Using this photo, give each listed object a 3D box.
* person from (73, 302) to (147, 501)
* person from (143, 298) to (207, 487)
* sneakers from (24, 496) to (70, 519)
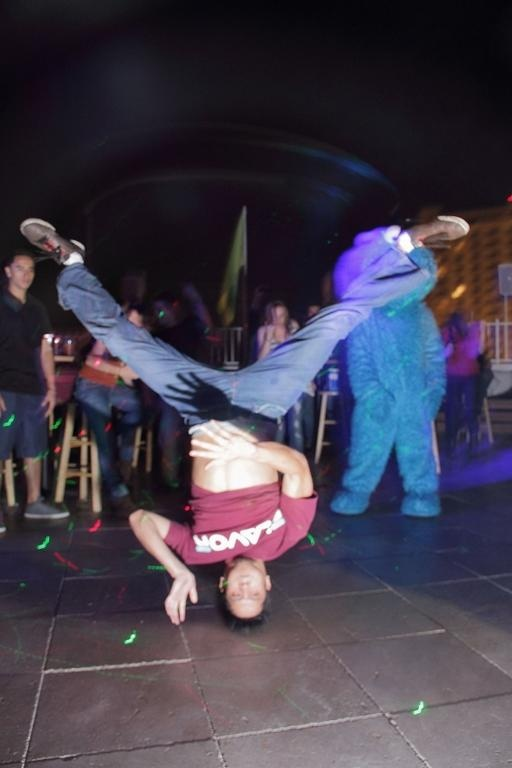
[{"bbox_3d":[-1.003,0.177,4.652,0.543,1.446,0.373,0,-4,-16],"label":"person"},{"bbox_3d":[-0.628,-0.030,5.181,0.378,1.196,0.868,4,-6,-20],"label":"person"},{"bbox_3d":[-1.237,0.743,3.988,0.288,0.115,0.107,2,-4,-8],"label":"sneakers"}]
